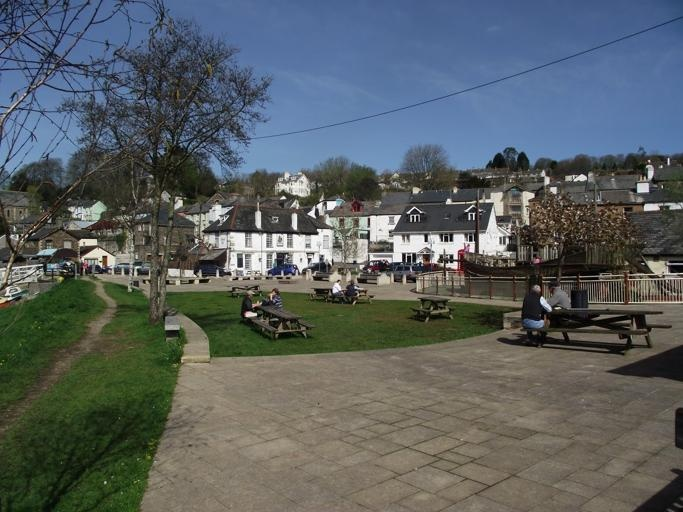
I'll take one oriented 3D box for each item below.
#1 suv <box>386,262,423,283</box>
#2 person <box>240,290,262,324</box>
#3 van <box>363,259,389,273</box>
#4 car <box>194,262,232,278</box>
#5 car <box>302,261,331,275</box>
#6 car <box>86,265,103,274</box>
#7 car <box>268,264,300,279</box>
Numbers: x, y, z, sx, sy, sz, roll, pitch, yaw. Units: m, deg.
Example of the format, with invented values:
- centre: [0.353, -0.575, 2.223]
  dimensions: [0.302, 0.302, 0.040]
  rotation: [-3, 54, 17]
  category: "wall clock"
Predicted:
- centre: [6.845, 1.711, 53.115]
  dimensions: [3.565, 1.683, 1.893]
  rotation: [3, 2, 15]
  category: "suv"
- centre: [-3.905, 2.120, 20.830]
  dimensions: [1.096, 1.496, 0.908]
  rotation: [-10, 16, -25]
  category: "person"
- centre: [4.245, 1.029, 57.788]
  dimensions: [2.355, 1.146, 1.466]
  rotation: [3, -5, -28]
  category: "van"
- centre: [-15.925, 1.594, 59.309]
  dimensions: [4.312, 1.468, 1.976]
  rotation: [-1, 0, -3]
  category: "car"
- centre: [-2.554, 1.282, 58.085]
  dimensions: [2.420, 1.195, 1.369]
  rotation: [3, -3, -19]
  category: "car"
- centre: [-31.189, 1.511, 61.046]
  dimensions: [2.269, 1.089, 1.415]
  rotation: [-7, 14, -41]
  category: "car"
- centre: [-7.281, 1.595, 60.184]
  dimensions: [3.335, 1.427, 1.870]
  rotation: [3, -4, -15]
  category: "car"
